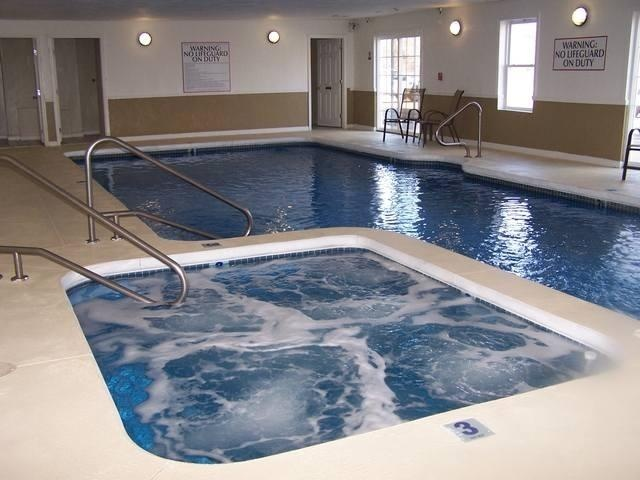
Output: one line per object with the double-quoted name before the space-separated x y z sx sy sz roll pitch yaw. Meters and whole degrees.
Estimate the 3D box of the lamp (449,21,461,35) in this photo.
"lamp" 3.407 -5.275 11.504 0.129 0.364 0.372 -11 20 -27

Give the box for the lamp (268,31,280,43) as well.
"lamp" -1.415 -6.077 13.873 0.382 0.348 0.098 -12 21 -31

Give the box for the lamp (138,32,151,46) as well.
"lamp" -4.884 -5.494 12.667 0.399 0.371 0.145 -7 19 -17

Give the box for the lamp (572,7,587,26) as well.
"lamp" 5.075 -4.291 8.890 0.091 0.355 0.299 -8 19 -19
